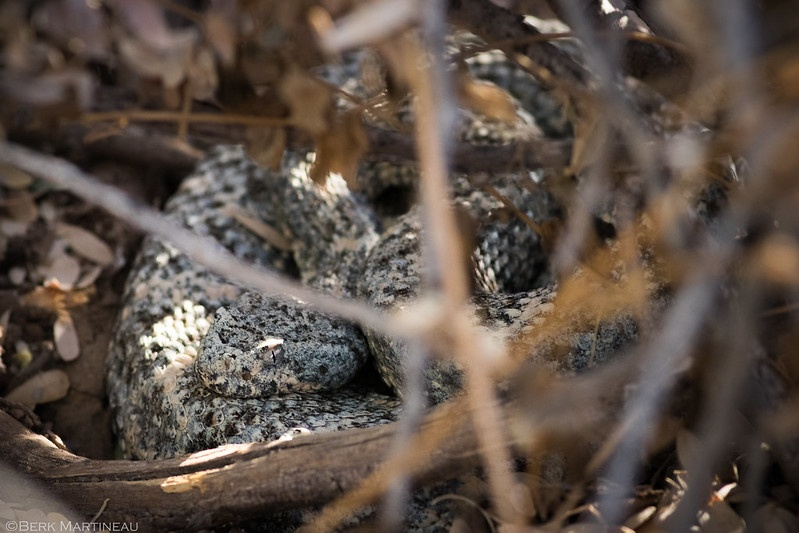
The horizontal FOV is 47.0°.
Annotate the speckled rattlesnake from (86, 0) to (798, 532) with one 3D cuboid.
[{"bbox_3d":[0.106,0.023,1.815,0.899,0.262,0.953,-5,50,-3],"label":"speckled rattlesnake"}]
